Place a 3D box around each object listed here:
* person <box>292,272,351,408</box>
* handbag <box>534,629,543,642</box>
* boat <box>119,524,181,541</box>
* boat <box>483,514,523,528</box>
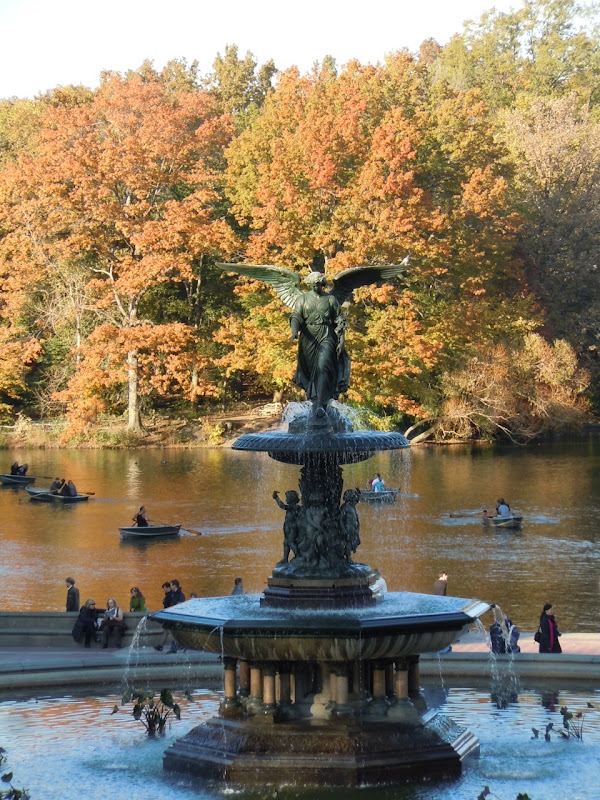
[{"bbox_3d":[0.203,-0.640,13.768,0.556,1.418,0.625,-1,-4,-1],"label":"person"},{"bbox_3d":[2.813,2.783,16.107,0.080,0.158,0.251,-2,-5,9],"label":"handbag"},{"bbox_3d":[-3.208,2.936,30.294,1.512,0.346,0.673,2,-6,-37],"label":"boat"},{"bbox_3d":[4.685,2.788,31.257,0.529,0.314,1.039,2,-6,-34],"label":"boat"}]
